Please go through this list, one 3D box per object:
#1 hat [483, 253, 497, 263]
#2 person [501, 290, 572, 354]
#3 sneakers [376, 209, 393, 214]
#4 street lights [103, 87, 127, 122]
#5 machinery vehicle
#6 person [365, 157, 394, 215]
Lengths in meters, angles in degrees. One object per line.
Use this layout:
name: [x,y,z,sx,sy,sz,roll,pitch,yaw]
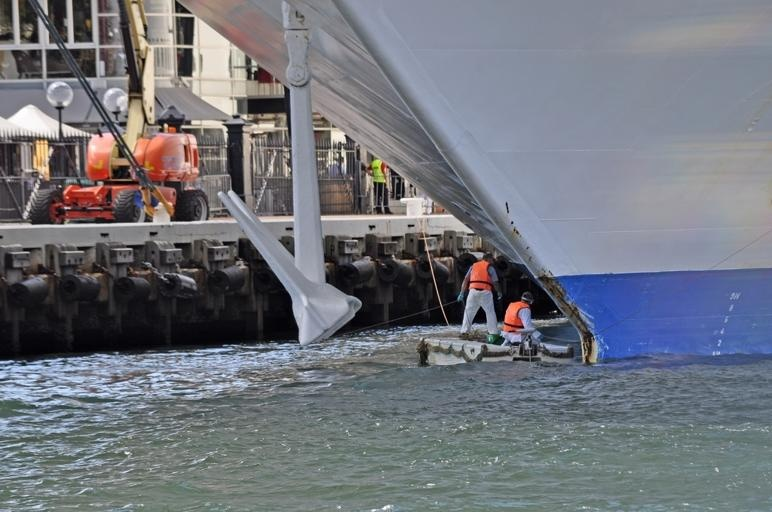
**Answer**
hat: [2.076,0.020,25.674,0.127,0.151,0.159,-11,27,28]
person: [2.513,0.993,20.786,1.362,0.864,1.187,0,8,-31]
sneakers: [-0.037,-1.133,31.400,0.418,0.166,0.122,-5,17,-24]
street lights: [-5.991,-3.332,29.014,0.376,0.735,0.359,15,-6,-6]
machinery vehicle: [-5.152,-3.003,25.990,3.028,4.755,5.639,-1,-3,-6]
person: [-0.150,-1.785,31.056,0.525,1.433,1.337,-1,-3,0]
